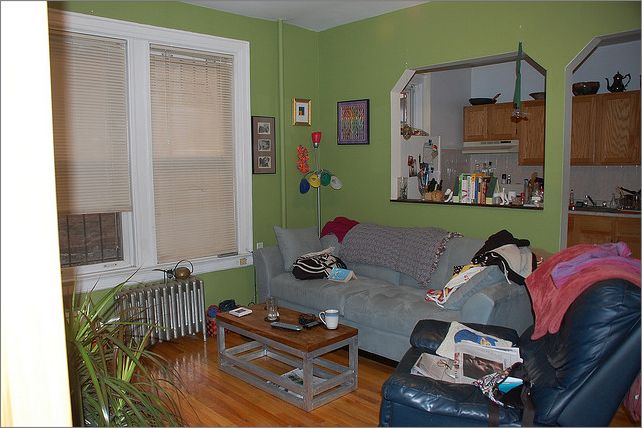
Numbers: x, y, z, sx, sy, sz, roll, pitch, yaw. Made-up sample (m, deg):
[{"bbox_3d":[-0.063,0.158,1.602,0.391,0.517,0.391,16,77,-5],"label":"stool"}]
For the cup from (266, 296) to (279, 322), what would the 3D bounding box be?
[{"bbox_3d":[-0.401,0.782,3.734,0.146,0.173,0.165,0,11,-5],"label":"cup"}]

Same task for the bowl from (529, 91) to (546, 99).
[{"bbox_3d":[2.931,-1.611,6.190,0.162,0.130,0.264,3,8,28],"label":"bowl"}]

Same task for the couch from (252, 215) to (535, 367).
[{"bbox_3d":[0.549,0.714,4.395,2.599,1.052,1.083,6,10,43],"label":"couch"}]

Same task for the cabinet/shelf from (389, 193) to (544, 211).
[{"bbox_3d":[1.451,-0.121,4.676,1.589,0.081,0.206,5,9,41],"label":"cabinet/shelf"}]

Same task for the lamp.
[{"bbox_3d":[-0.088,-0.228,5.630,0.514,1.449,0.517,-20,28,-39],"label":"lamp"}]

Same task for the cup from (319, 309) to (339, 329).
[{"bbox_3d":[0.056,0.824,3.583,0.116,0.117,0.172,0,-3,-12],"label":"cup"}]

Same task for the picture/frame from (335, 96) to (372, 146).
[{"bbox_3d":[0.395,-1.109,5.414,0.636,0.651,0.052,4,7,42],"label":"picture/frame"}]

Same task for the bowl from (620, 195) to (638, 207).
[{"bbox_3d":[3.742,-0.156,5.553,0.153,0.134,0.144,-1,-3,0],"label":"bowl"}]

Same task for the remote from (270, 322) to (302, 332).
[{"bbox_3d":[-0.265,0.877,3.576,0.292,0.029,0.132,2,8,28],"label":"remote"}]

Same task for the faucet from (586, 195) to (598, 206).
[{"bbox_3d":[3.538,-0.180,5.984,0.059,0.122,0.156,-3,8,-10],"label":"faucet"}]

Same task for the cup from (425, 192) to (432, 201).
[{"bbox_3d":[1.185,-0.200,5.061,0.100,0.060,0.071,-5,8,-18],"label":"cup"}]

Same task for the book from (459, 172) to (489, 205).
[{"bbox_3d":[1.570,-0.245,4.724,0.277,0.360,0.395,2,4,29],"label":"book"}]

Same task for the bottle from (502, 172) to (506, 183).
[{"bbox_3d":[2.702,-0.536,6.732,0.060,0.137,0.252,1,8,21],"label":"bottle"}]

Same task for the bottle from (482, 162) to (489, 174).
[{"bbox_3d":[2.492,-0.697,6.952,0.109,0.187,0.212,1,8,18],"label":"bottle"}]

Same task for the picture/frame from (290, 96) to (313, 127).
[{"bbox_3d":[-0.238,-1.250,5.556,0.026,0.328,0.347,10,15,37],"label":"picture/frame"}]

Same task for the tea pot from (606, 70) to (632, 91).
[{"bbox_3d":[3.657,-1.641,5.636,0.266,0.306,0.392,3,9,33],"label":"tea pot"}]

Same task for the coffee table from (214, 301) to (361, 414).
[{"bbox_3d":[-0.292,1.112,3.718,1.126,0.510,0.543,5,10,40],"label":"coffee table"}]

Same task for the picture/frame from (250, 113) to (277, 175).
[{"bbox_3d":[-0.663,-0.788,5.238,0.075,0.662,0.342,5,11,38],"label":"picture/frame"}]

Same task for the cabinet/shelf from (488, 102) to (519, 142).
[{"bbox_3d":[2.632,-1.348,6.623,0.374,0.469,0.291,-2,18,10],"label":"cabinet/shelf"}]

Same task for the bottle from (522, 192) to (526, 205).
[{"bbox_3d":[1.928,-0.141,4.375,0.035,0.088,0.192,3,8,28],"label":"bottle"}]

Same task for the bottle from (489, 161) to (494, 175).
[{"bbox_3d":[2.586,-0.710,6.947,0.075,0.200,0.090,1,9,16],"label":"bottle"}]

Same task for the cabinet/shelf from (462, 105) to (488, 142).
[{"bbox_3d":[2.385,-1.387,6.875,0.392,0.519,0.321,5,17,31],"label":"cabinet/shelf"}]
